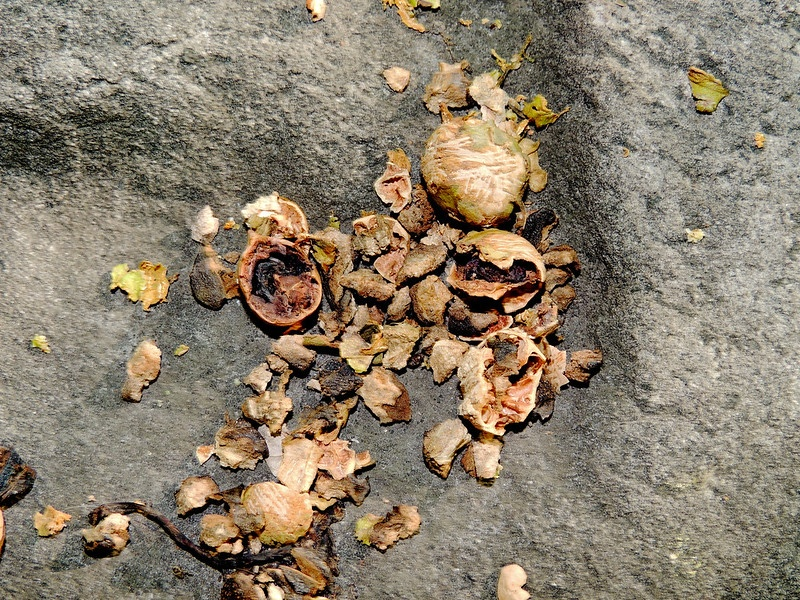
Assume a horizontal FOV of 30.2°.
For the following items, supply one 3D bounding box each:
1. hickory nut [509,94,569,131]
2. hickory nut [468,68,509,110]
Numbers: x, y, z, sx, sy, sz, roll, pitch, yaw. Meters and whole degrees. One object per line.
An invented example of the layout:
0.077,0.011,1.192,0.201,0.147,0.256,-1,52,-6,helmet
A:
0.984,-1.317,10.444,0.359,0.230,0.163,43,51,-20,hickory nut
0.623,-1.448,10.402,0.291,0.076,0.212,42,79,-21,hickory nut
